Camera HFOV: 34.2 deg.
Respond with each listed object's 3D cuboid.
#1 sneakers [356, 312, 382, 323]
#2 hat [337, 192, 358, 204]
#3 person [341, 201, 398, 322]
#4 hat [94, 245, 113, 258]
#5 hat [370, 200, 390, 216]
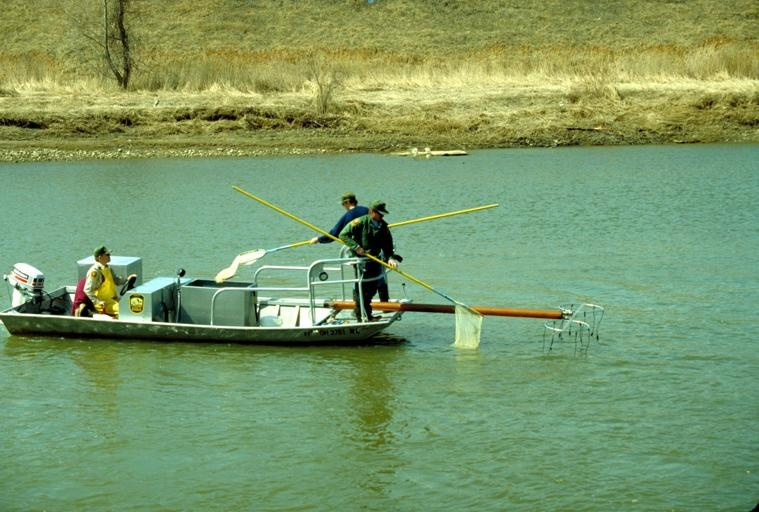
[{"bbox_3d":[-0.164,1.523,30.271,0.717,0.196,0.192,-6,3,3],"label":"sneakers"},{"bbox_3d":[-0.705,-1.410,30.743,0.508,0.209,0.505,-1,3,-3],"label":"hat"},{"bbox_3d":[-0.175,0.138,30.221,1.318,2.855,0.631,-5,6,-25],"label":"person"},{"bbox_3d":[-6.819,-0.073,30.297,0.510,0.186,0.291,-14,14,0],"label":"hat"},{"bbox_3d":[0.041,-1.151,30.180,0.557,0.195,0.317,0,22,8],"label":"hat"}]
